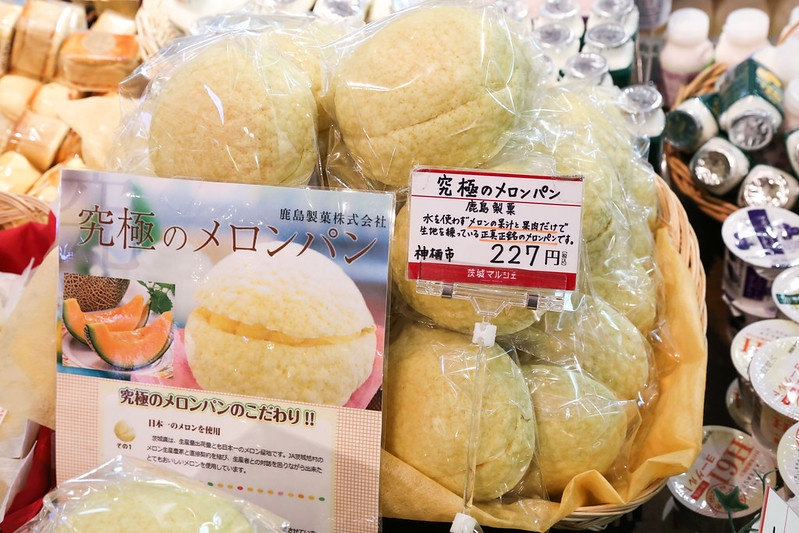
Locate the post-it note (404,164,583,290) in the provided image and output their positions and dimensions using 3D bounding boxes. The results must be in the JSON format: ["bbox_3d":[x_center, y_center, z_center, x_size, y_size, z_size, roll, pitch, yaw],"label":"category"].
[{"bbox_3d":[0.151,-0.057,1.022,0.275,0.147,0.113,4,44,2],"label":"post-it note"}]
